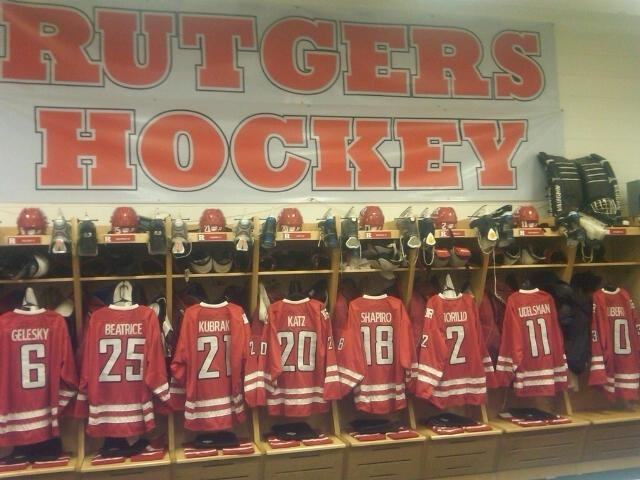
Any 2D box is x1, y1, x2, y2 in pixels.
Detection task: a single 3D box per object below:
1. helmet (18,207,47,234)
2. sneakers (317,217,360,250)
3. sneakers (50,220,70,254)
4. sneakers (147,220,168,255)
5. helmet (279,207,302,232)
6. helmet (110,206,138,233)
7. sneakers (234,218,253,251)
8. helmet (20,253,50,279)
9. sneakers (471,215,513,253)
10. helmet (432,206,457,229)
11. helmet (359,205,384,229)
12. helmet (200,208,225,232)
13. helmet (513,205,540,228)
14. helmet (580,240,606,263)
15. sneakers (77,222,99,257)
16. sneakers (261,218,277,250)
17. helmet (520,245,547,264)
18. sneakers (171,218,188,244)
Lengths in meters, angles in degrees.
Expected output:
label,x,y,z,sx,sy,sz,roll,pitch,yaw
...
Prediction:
label,x,y,z,sx,sy,sz,roll,pitch,yaw
helmet,-2.593,-0.174,5.856,0.219,0.220,0.246,1,4,-10
sneakers,0.179,-0.054,6.207,0.390,0.251,0.298,-3,1,1
sneakers,-2.312,-0.037,5.784,0.181,0.322,0.223,-3,1,-22
sneakers,-1.469,-0.033,5.875,0.173,0.291,0.120,-3,1,-17
helmet,-0.274,-0.195,6.239,0.177,0.240,0.225,1,1,-1
helmet,-1.795,-0.186,5.955,0.207,0.219,0.240,0,7,-11
sneakers,-0.698,-0.050,5.934,0.161,0.287,0.111,2,-10,-3
helmet,-2.574,0.238,5.859,0.252,0.224,0.141,-4,2,-32
sneakers,1.693,-0.082,6.357,0.291,0.393,0.203,-5,1,-1
helmet,1.240,-0.228,6.530,0.241,0.215,0.202,-6,7,-9
helmet,0.505,-0.217,6.415,0.226,0.189,0.437,0,2,1
helmet,-1.020,-0.190,6.127,0.212,0.207,0.210,-2,4,13
helmet,2.115,-0.250,6.594,0.188,0.217,0.236,3,-14,-10
helmet,2.893,0.129,6.863,0.224,0.310,0.109,1,1,-24
sneakers,-2.084,-0.018,5.818,0.177,0.320,0.197,-3,1,-22
sneakers,-0.472,-0.065,5.968,0.160,0.247,0.263,5,-39,-6
helmet,2.169,0.159,6.648,0.160,0.120,0.230,18,13,6
sneakers,-1.283,-0.087,5.917,0.148,0.195,0.094,-3,1,-14
